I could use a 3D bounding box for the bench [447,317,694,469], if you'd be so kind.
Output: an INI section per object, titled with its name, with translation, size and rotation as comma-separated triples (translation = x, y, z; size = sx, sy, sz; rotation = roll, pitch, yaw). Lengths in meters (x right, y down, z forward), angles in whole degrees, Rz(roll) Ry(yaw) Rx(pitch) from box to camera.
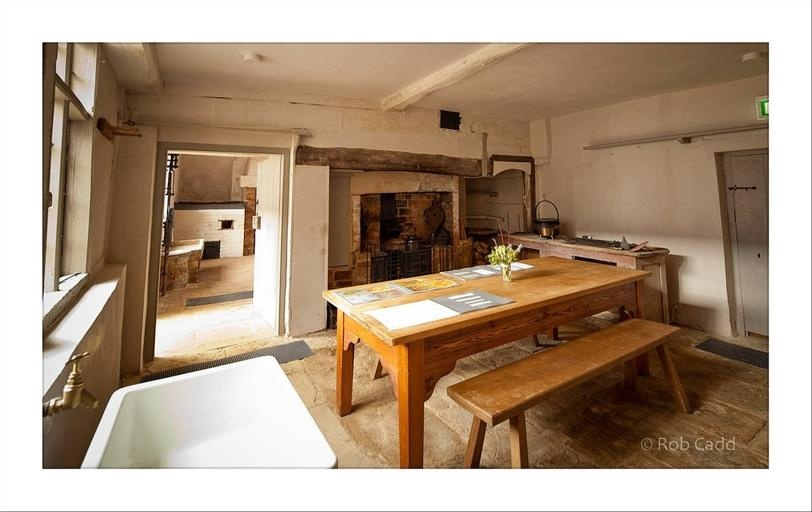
[bench]
translation = 1.385, 1.206, 4.111
size = 2.168, 0.973, 0.444
rotation = -5, 9, -27
